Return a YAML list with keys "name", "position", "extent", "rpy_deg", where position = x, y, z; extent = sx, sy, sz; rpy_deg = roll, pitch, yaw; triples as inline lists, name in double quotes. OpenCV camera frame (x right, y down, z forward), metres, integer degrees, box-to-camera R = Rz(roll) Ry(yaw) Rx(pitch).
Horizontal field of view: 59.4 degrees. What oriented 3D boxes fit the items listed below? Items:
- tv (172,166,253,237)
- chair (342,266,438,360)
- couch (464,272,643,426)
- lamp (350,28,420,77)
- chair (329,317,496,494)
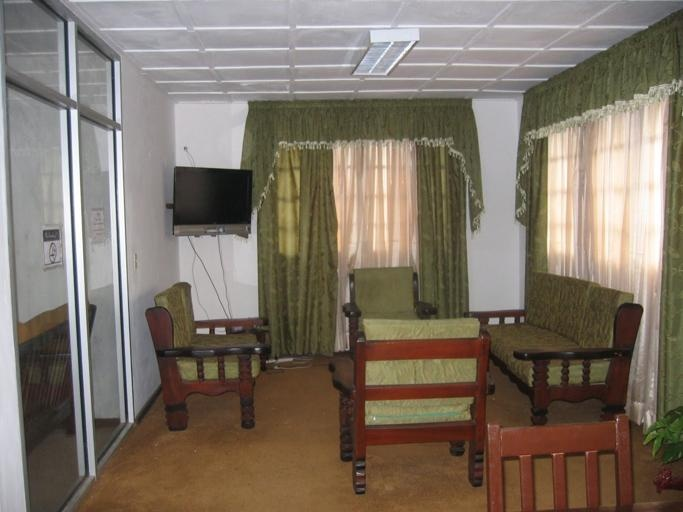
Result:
- name: "tv"
  position: [-1.436, -0.603, 6.568]
  extent: [0.708, 0.653, 0.102]
  rpy_deg: [-2, 6, -34]
- name: "chair"
  position: [0.555, 0.805, 6.753]
  extent: [1.061, 1.414, 0.951]
  rpy_deg: [-2, 0, -7]
- name: "couch"
  position: [1.982, 0.813, 6.063]
  extent: [1.032, 1.185, 2.100]
  rpy_deg: [-3, 6, -2]
- name: "lamp"
  position: [0.395, -1.809, 5.339]
  extent: [0.436, 0.315, 0.830]
  rpy_deg: [-4, 14, -11]
- name: "chair"
  position: [0.500, 0.987, 4.758]
  extent: [0.973, 1.190, 1.284]
  rpy_deg: [-1, 11, -4]
